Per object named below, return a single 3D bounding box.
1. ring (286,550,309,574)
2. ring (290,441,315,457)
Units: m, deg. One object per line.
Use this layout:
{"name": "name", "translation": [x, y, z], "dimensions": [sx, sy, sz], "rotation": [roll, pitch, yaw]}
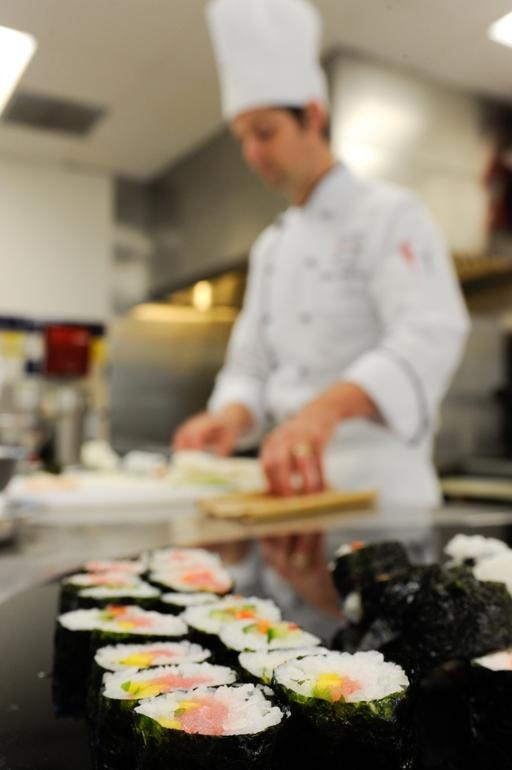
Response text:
{"name": "ring", "translation": [0.036, 0.147, 0.619], "dimensions": [0.018, 0.016, 0.007], "rotation": [34, 20, 23]}
{"name": "ring", "translation": [0.041, 0.056, 0.655], "dimensions": [0.017, 0.013, 0.004], "rotation": [1, 3, -16]}
